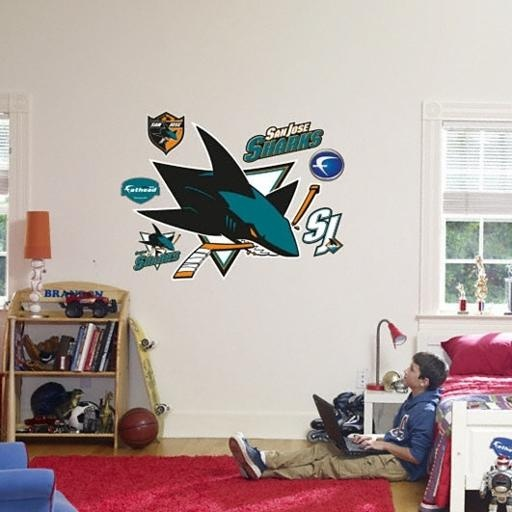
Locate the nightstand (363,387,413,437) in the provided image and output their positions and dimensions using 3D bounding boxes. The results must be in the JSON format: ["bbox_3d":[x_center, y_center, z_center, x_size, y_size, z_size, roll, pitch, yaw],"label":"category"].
[{"bbox_3d":[0.873,1.034,3.922,0.311,0.283,0.270,0,-3,5],"label":"nightstand"}]

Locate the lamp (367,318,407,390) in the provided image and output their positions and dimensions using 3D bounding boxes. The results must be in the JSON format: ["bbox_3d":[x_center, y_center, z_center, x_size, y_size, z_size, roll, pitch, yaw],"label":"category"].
[{"bbox_3d":[0.911,0.695,4.086,0.175,0.482,0.367,8,-14,-28],"label":"lamp"}]

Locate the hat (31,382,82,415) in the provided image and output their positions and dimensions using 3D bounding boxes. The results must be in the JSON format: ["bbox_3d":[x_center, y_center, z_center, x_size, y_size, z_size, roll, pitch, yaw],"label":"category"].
[{"bbox_3d":[-1.457,1.049,4.271,0.424,0.283,0.291,-7,-11,18],"label":"hat"}]

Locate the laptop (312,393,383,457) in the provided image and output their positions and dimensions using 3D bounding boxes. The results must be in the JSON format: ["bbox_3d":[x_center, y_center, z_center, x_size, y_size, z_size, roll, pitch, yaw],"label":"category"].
[{"bbox_3d":[0.500,0.978,3.414,0.315,0.289,0.434,4,-1,9],"label":"laptop"}]

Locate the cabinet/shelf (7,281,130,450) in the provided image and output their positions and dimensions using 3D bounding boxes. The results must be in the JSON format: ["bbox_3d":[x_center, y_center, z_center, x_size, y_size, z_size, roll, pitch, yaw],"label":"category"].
[{"bbox_3d":[-1.362,0.746,4.321,0.999,1.025,0.306,2,3,-6],"label":"cabinet/shelf"}]

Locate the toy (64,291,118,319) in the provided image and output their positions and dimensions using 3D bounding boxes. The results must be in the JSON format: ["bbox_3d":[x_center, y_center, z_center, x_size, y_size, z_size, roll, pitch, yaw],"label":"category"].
[{"bbox_3d":[-1.207,0.346,4.328,0.401,0.179,0.273,2,3,1],"label":"toy"}]

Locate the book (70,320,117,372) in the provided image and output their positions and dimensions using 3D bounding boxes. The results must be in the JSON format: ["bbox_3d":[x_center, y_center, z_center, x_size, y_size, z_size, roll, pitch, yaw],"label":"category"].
[{"bbox_3d":[-1.159,0.645,4.163,0.318,0.352,0.139,0,-3,-14],"label":"book"}]

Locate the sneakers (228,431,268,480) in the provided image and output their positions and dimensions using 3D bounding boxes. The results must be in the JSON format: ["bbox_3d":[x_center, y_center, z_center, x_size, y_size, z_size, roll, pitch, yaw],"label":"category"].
[{"bbox_3d":[-0.046,1.107,3.246,0.238,0.254,0.298,3,2,-5],"label":"sneakers"}]

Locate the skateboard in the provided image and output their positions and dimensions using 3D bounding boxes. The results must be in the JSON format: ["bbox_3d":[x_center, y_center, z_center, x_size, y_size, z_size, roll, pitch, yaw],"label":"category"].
[{"bbox_3d":[-0.788,0.914,4.290,0.154,0.978,0.239,-16,1,30],"label":"skateboard"}]

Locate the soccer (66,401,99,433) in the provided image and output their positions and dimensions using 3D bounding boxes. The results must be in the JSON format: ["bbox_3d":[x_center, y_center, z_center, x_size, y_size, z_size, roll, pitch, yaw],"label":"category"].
[{"bbox_3d":[-1.211,1.130,4.072,0.219,0.193,0.103,0,-3,-14],"label":"soccer"}]
